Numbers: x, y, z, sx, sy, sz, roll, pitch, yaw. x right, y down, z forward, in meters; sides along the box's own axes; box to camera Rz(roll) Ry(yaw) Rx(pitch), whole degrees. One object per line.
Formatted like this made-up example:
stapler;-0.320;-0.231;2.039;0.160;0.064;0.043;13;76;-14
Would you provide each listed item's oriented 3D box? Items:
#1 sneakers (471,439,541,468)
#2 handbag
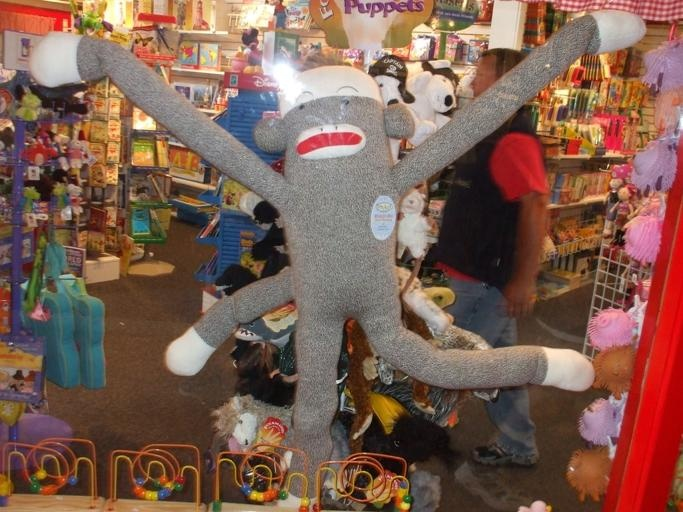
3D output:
sneakers;0.695;0.860;2.363;0.313;0.114;0.125;3;94;-11
handbag;-1.173;0.264;2.225;0.257;0.685;0.592;-9;106;-34
